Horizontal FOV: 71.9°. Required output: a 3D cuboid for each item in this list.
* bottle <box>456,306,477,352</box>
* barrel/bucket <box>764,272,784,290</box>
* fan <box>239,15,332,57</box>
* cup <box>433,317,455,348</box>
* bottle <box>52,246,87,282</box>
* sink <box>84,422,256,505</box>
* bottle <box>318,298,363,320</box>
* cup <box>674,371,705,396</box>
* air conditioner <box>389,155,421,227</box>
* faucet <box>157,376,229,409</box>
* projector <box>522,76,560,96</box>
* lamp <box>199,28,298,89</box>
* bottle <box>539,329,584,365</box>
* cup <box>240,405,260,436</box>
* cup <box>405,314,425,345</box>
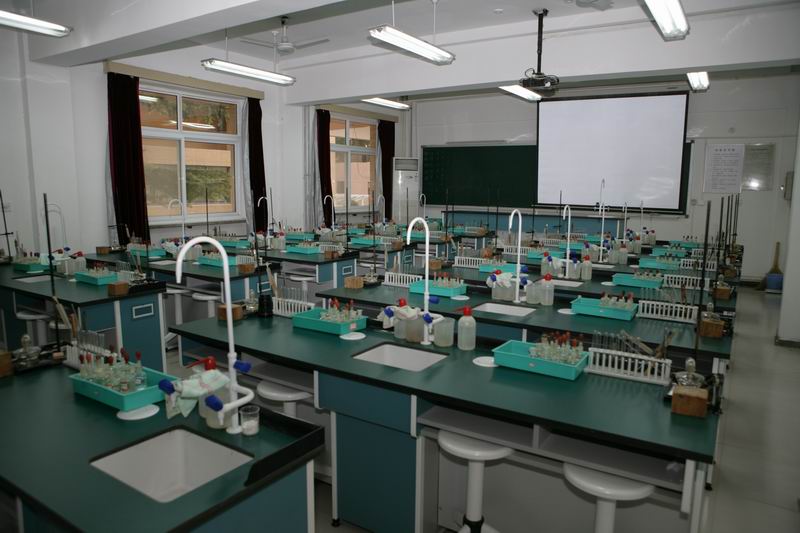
[{"bbox_3d":[0.485,0.436,3.952,0.196,0.298,0.199,0,5,0],"label":"bottle"},{"bbox_3d":[5.920,0.228,8.710,0.281,0.353,0.246,1,1,45],"label":"barrel/bucket"},{"bbox_3d":[-1.688,-3.140,7.739,0.874,0.346,0.831,7,10,42],"label":"fan"},{"bbox_3d":[0.315,0.472,4.004,0.180,0.183,0.180,0,4,0],"label":"cup"},{"bbox_3d":[-3.456,-0.022,5.744,0.365,0.396,0.376,2,3,-13],"label":"bottle"},{"bbox_3d":[-1.281,0.956,3.065,0.635,0.278,0.474,7,8,32],"label":"sink"},{"bbox_3d":[-0.437,0.347,4.224,0.196,0.051,0.208,2,6,0],"label":"bottle"},{"bbox_3d":[1.723,0.688,3.272,0.180,0.096,0.269,4,10,27],"label":"cup"},{"bbox_3d":[0.125,-1.544,11.670,0.605,1.617,0.234,3,39,0],"label":"air conditioner"},{"bbox_3d":[-1.183,0.706,3.063,0.470,0.152,0.139,4,10,28],"label":"faucet"},{"bbox_3d":[1.659,-2.165,6.591,0.431,0.184,0.554,1,9,10],"label":"projector"},{"bbox_3d":[-1.827,-2.335,6.549,0.398,0.200,1.138,7,12,41],"label":"lamp"},{"bbox_3d":[1.091,0.506,3.640,0.219,0.095,0.223,0,6,0],"label":"bottle"},{"bbox_3d":[-0.847,0.863,3.115,0.120,0.135,0.145,0,3,0],"label":"cup"},{"bbox_3d":[0.118,0.452,4.045,0.162,0.178,0.184,2,6,19],"label":"cup"}]
